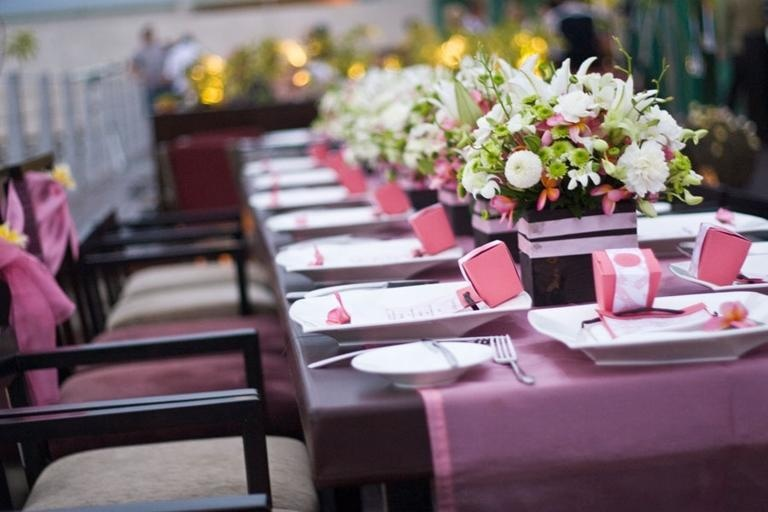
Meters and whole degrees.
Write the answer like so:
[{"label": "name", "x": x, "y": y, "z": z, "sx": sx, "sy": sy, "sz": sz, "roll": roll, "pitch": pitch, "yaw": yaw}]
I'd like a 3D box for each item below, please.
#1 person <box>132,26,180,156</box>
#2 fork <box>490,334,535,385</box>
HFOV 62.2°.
[{"label": "person", "x": -0.967, "y": -0.744, "z": 2.776, "sx": 0.126, "sy": 0.253, "sz": 1.810, "roll": -10, "pitch": 13, "yaw": -16}, {"label": "fork", "x": 0.227, "y": 0.182, "z": 1.145, "sx": 0.028, "sy": 0.016, "sz": 0.113, "roll": -3, "pitch": 30, "yaw": -11}]
